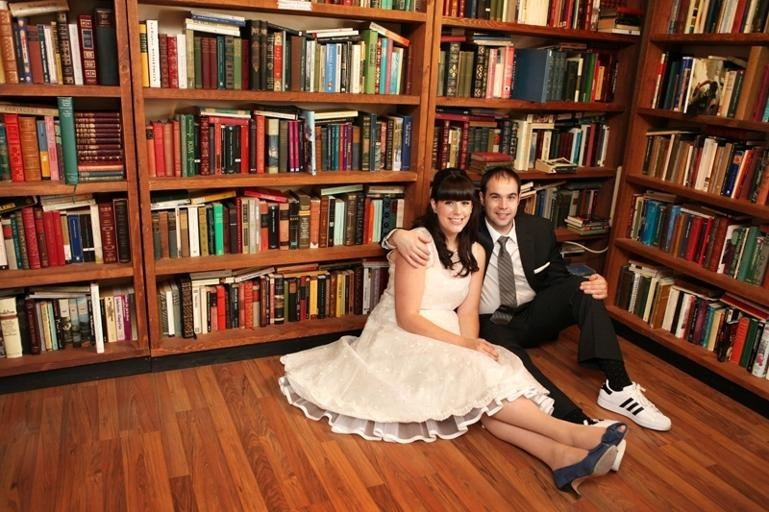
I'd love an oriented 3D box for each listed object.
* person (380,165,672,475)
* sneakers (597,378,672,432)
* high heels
[{"bbox_3d":[0.916,0.198,3.263,1.332,1.138,1.767,-14,33,-20],"label":"person"},{"bbox_3d":[1.354,0.818,3.020,0.439,0.175,0.162,17,32,36],"label":"sneakers"},{"bbox_3d":[0.945,0.964,2.474,0.400,0.146,0.129,-32,20,0],"label":"high heels"}]
